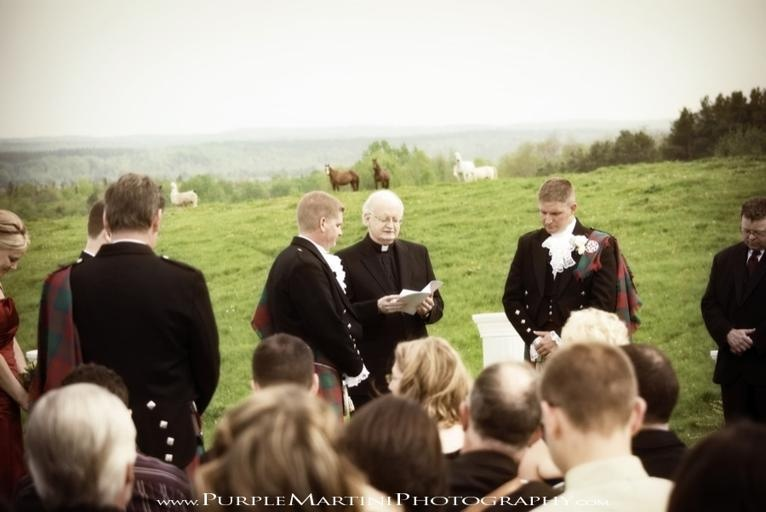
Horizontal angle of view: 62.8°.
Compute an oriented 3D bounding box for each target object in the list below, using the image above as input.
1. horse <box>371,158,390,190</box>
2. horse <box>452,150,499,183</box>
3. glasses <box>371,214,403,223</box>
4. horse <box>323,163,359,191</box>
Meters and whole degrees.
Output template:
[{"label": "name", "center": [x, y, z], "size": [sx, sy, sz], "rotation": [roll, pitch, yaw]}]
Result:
[{"label": "horse", "center": [-0.019, -1.624, 12.529], "size": [0.359, 0.589, 0.254], "rotation": [-1, 10, 24]}, {"label": "horse", "center": [1.829, -1.758, 12.402], "size": [0.856, 0.580, 0.365], "rotation": [-3, 10, 9]}, {"label": "glasses", "center": [0.061, -0.348, 6.018], "size": [0.271, 0.079, 0.095], "rotation": [-8, 10, -17]}, {"label": "horse", "center": [-0.799, -1.552, 12.623], "size": [0.668, 0.550, 0.293], "rotation": [-2, 10, 19]}]
